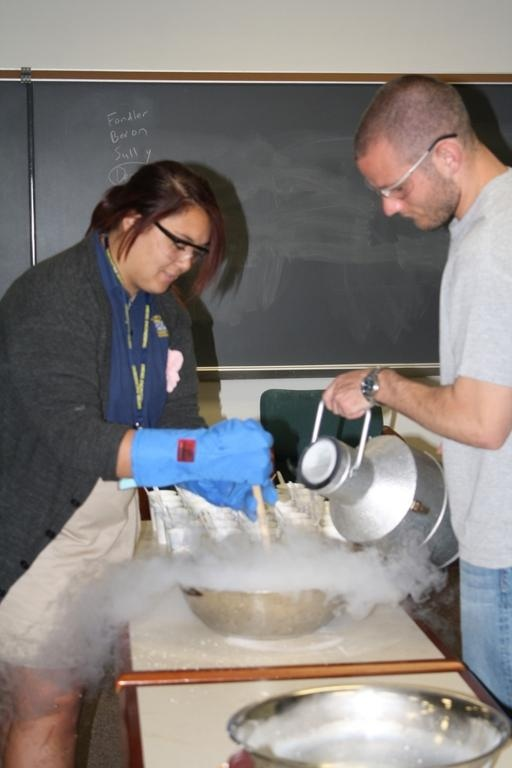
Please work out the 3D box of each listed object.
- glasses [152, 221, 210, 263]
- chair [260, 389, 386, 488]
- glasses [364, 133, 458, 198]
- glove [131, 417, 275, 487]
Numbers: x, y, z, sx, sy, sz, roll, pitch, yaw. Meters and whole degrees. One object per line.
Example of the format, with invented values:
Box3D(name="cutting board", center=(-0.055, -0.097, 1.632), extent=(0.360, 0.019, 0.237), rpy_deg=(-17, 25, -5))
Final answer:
Box3D(name="glasses", center=(-0.140, -0.246, 1.149), extent=(0.056, 0.015, 0.055), rpy_deg=(46, 19, 19))
Box3D(name="chair", center=(0.216, 0.171, 2.676), extent=(0.412, 0.378, 0.556), rpy_deg=(1, 67, -4))
Box3D(name="glasses", center=(0.233, -0.326, 0.997), extent=(0.079, 0.023, 0.076), rpy_deg=(-45, 20, 5))
Box3D(name="glove", center=(-0.081, 0.117, 1.040), extent=(0.211, 0.128, 0.097), rpy_deg=(-4, 46, -2))
